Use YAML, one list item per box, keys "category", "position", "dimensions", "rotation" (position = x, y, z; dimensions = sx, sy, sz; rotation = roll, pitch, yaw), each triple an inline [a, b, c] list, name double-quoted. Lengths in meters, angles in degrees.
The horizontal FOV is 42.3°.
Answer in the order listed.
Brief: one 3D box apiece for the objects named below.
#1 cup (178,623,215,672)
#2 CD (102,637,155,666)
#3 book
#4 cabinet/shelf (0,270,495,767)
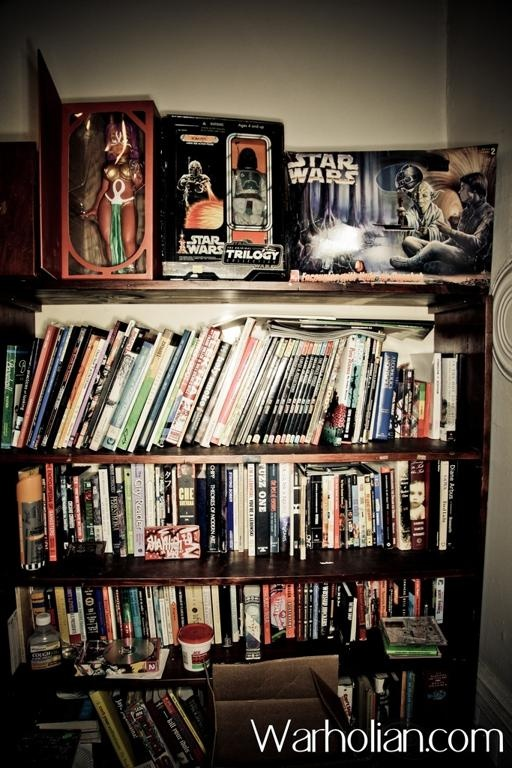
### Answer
- category: "cup"
  position: [-0.148, 0.656, 1.663]
  dimensions: [0.082, 0.089, 0.097]
  rotation: [0, 7, 16]
- category: "CD"
  position: [-0.319, 0.671, 1.660]
  dimensions: [0.121, 0.020, 0.100]
  rotation: [-4, 7, -10]
- category: "book"
  position: [-0.082, 0.418, 1.668]
  dimensions: [1.034, 1.019, 0.345]
  rotation: [0, -2, -3]
- category: "cabinet/shelf"
  position: [-0.044, 0.366, 1.665]
  dimensions: [1.157, 1.164, 0.403]
  rotation: [-1, 8, 1]
